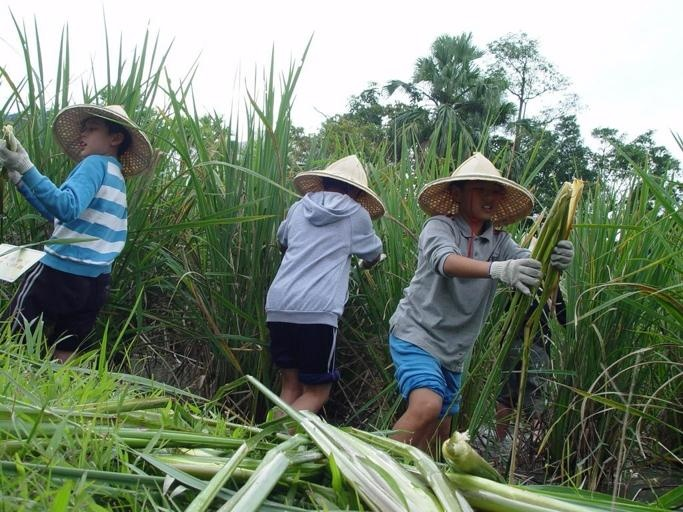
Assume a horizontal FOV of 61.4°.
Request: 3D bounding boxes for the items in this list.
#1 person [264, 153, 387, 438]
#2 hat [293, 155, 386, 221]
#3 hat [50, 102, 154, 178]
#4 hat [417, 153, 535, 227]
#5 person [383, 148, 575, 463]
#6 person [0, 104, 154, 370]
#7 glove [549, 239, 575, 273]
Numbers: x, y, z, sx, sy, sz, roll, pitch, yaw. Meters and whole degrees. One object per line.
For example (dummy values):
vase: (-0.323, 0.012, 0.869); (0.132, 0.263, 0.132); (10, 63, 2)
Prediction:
person: (-0.122, 0.157, 3.574); (0.655, 1.440, 0.558); (10, -3, -11)
hat: (0.006, -0.494, 3.757); (0.452, 0.254, 0.462); (33, -14, -17)
hat: (-1.414, -0.743, 3.452); (0.471, 0.251, 0.523); (18, -41, 11)
hat: (0.731, -0.345, 3.076); (0.426, 0.256, 0.480); (10, -33, 3)
person: (0.583, 0.230, 2.840); (0.651, 1.239, 1.067); (9, -3, 6)
person: (-1.430, -0.120, 3.078); (0.501, 0.605, 1.422); (0, 30, 5)
glove: (0.828, -0.006, 2.174); (0.050, 0.082, 0.092); (7, -5, 42)
